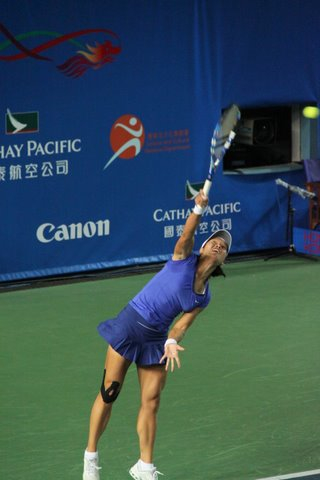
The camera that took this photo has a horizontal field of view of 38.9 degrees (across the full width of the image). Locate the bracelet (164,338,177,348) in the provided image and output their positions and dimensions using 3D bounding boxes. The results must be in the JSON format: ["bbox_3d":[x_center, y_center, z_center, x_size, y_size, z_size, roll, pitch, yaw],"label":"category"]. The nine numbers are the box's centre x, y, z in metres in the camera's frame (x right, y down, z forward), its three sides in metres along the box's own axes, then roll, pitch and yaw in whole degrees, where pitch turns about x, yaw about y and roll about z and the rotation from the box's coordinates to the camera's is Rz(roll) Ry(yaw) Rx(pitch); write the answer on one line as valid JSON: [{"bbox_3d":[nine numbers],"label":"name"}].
[{"bbox_3d":[0.044,0.418,1.848,0.048,0.033,0.080,0,5,2],"label":"bracelet"}]

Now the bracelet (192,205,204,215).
[{"bbox_3d":[0.168,-0.129,1.977,0.039,0.033,0.047,6,-7,-10],"label":"bracelet"}]
